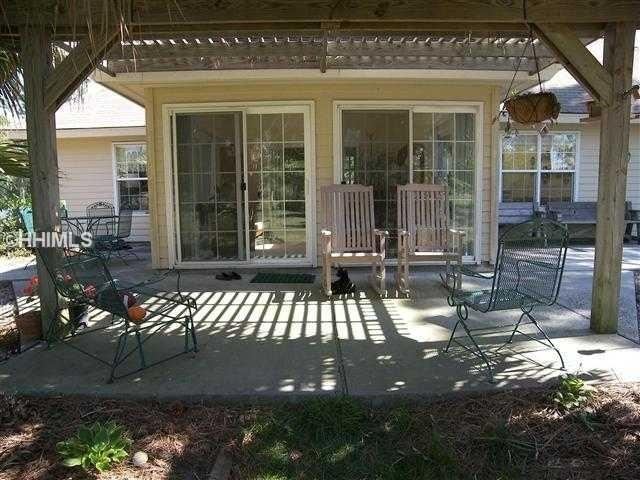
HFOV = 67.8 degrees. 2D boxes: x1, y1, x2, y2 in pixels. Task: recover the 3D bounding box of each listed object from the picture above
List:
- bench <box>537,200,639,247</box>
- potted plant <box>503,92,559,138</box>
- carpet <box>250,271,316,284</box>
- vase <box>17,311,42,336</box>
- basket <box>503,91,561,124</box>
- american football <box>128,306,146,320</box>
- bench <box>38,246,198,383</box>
[{"bbox_3d":[3.879,-0.253,6.883,1.062,0.447,0.344,0,11,1],"label":"bench"},{"bbox_3d":[2.026,-1.203,4.479,0.436,0.277,0.390,-6,8,23],"label":"potted plant"},{"bbox_3d":[-0.479,0.515,6.561,0.841,0.051,0.683,1,12,4],"label":"carpet"},{"bbox_3d":[-2.635,0.769,4.434,0.223,0.171,0.210,1,6,20],"label":"vase"},{"bbox_3d":[2.024,-1.219,4.522,0.500,0.228,0.460,-1,3,16],"label":"basket"},{"bbox_3d":[-1.466,0.584,3.796,0.117,0.099,0.107,13,23,4],"label":"american football"},{"bbox_3d":[-1.651,0.478,4.219,1.041,1.008,1.753,-7,10,-42],"label":"bench"}]
